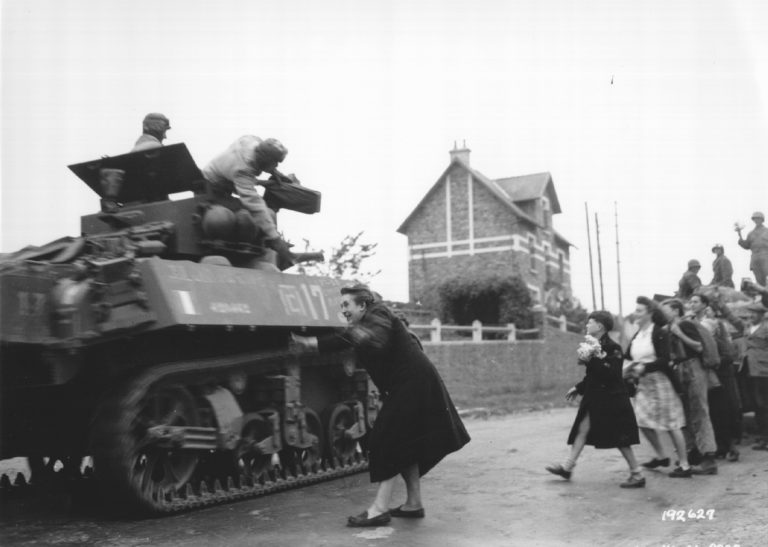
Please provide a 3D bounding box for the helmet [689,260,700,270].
[{"bbox_3d":[5.596,-0.197,18.781,0.205,0.155,0.178,2,0,-13],"label":"helmet"}]

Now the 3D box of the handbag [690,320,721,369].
[{"bbox_3d":[4.205,0.924,13.476,0.215,0.584,0.450,-19,4,21],"label":"handbag"}]

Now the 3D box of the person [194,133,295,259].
[{"bbox_3d":[-1.770,-0.896,12.748,1.054,1.279,1.352,13,-35,-11],"label":"person"}]

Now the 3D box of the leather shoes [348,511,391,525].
[{"bbox_3d":[-0.146,2.493,10.730,0.397,0.125,0.159,2,-10,-2],"label":"leather shoes"}]

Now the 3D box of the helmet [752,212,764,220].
[{"bbox_3d":[6.953,-1.124,19.334,0.204,0.161,0.215,2,-23,16],"label":"helmet"}]
